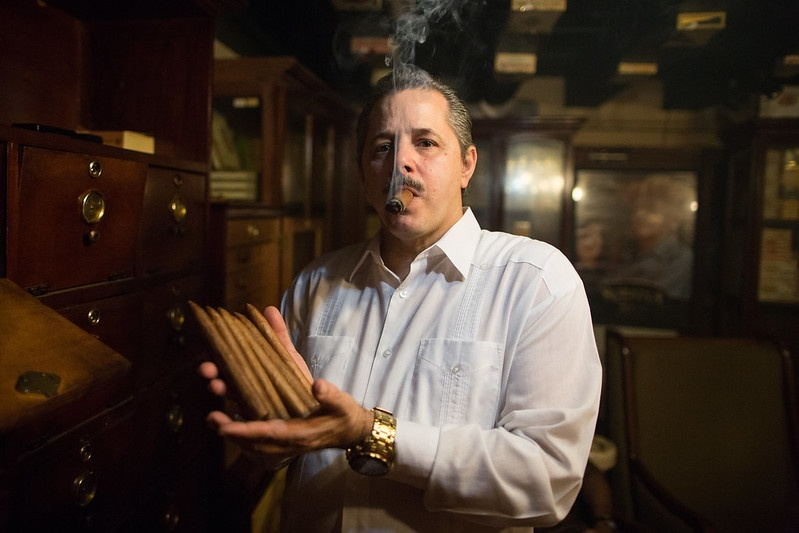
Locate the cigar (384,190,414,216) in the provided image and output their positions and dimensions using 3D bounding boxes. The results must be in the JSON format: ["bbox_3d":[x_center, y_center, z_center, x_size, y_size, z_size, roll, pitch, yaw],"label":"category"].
[{"bbox_3d":[0.003,-0.233,2.330,0.034,0.040,0.148,-21,14,30],"label":"cigar"}]

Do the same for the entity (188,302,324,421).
[{"bbox_3d":[-0.445,0.292,1.978,0.254,0.512,0.110,-21,-22,-27],"label":"entity"}]
